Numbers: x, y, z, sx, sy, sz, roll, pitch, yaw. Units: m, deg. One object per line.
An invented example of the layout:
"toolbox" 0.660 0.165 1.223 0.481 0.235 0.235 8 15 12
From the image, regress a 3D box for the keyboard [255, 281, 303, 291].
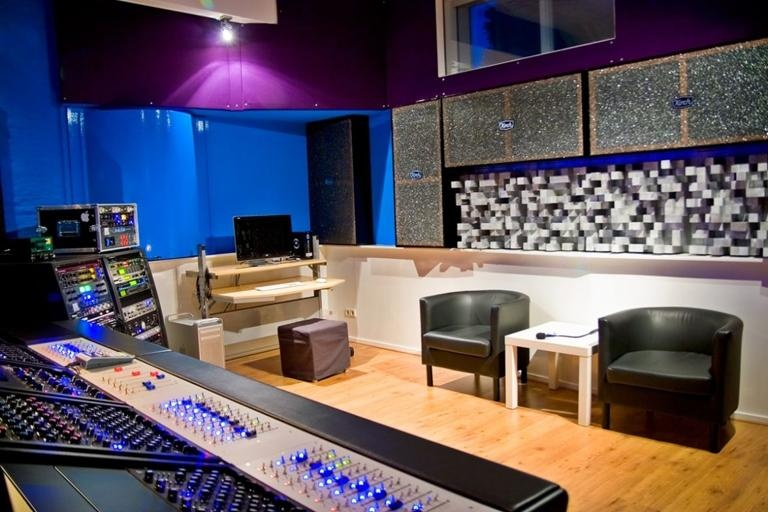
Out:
"keyboard" -1.182 0.335 6.060 0.510 0.073 0.546 1 11 -8

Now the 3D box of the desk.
"desk" -1.235 0.345 6.250 1.643 0.949 1.033 -8 10 -44

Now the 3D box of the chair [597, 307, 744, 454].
"chair" 2.338 0.901 4.309 0.869 0.865 0.976 -7 3 -37

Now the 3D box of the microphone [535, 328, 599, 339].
"microphone" 1.626 0.688 4.756 0.513 0.071 0.091 -2 4 8

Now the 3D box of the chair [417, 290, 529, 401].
"chair" 0.941 0.810 5.309 0.837 0.852 0.943 -9 8 -42

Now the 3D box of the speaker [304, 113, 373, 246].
"speaker" -0.552 -1.002 7.129 0.947 1.698 0.445 13 16 43

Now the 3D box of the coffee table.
"coffee table" 1.622 0.996 4.913 0.808 0.672 0.862 0 2 40

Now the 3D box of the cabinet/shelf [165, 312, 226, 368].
"cabinet/shelf" -1.975 0.901 5.639 0.565 0.508 0.309 0 4 35

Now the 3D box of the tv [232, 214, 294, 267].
"tv" -1.421 -0.204 6.380 0.217 0.572 0.852 4 8 43
